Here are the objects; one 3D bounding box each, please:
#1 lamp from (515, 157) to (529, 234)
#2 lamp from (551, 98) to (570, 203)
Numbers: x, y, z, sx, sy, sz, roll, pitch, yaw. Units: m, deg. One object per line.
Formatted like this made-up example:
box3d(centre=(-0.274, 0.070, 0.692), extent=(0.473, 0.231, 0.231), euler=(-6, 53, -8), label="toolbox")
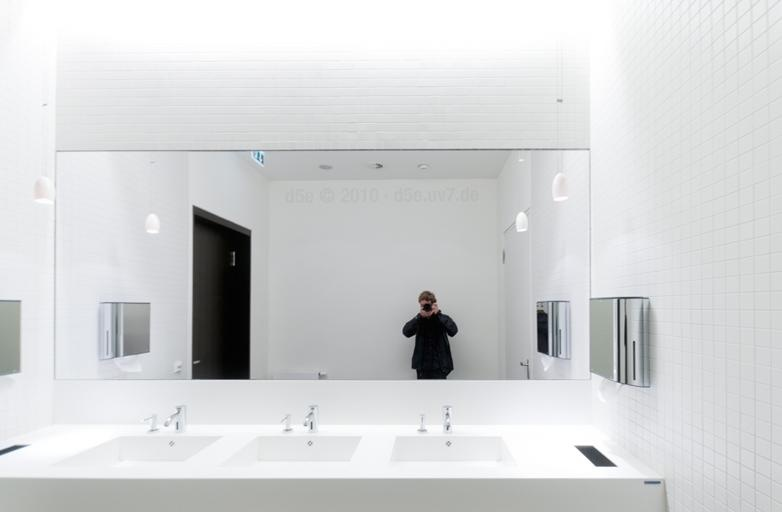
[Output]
box3d(centre=(0.781, -0.364, 3.070), extent=(0.093, 0.437, 0.124), euler=(2, 12, 13), label="lamp")
box3d(centre=(0.957, -0.597, 2.954), extent=(0.101, 0.556, 0.100), euler=(-5, 11, -21), label="lamp")
